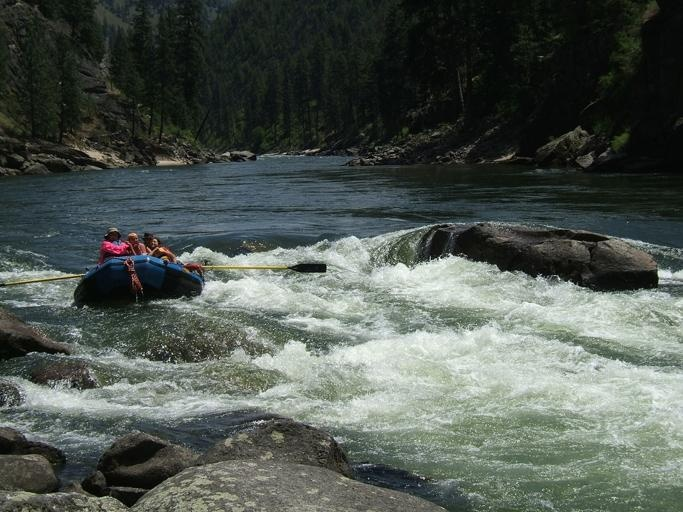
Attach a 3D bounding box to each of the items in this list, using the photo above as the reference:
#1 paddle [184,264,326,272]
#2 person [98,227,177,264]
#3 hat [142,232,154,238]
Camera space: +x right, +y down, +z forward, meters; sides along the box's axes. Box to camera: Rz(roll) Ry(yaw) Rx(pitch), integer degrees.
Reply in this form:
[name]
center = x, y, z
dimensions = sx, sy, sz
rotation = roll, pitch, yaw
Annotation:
[paddle]
center = -2.131, 0.284, 22.592
dimensions = 3.403, 0.256, 0.156
rotation = -2, -3, 28
[person]
center = -5.004, -0.195, 21.996
dimensions = 1.648, 0.471, 1.037
rotation = 13, 1, -7
[hat]
center = -4.860, -0.534, 22.774
dimensions = 0.322, 0.127, 0.372
rotation = 3, 0, -24
